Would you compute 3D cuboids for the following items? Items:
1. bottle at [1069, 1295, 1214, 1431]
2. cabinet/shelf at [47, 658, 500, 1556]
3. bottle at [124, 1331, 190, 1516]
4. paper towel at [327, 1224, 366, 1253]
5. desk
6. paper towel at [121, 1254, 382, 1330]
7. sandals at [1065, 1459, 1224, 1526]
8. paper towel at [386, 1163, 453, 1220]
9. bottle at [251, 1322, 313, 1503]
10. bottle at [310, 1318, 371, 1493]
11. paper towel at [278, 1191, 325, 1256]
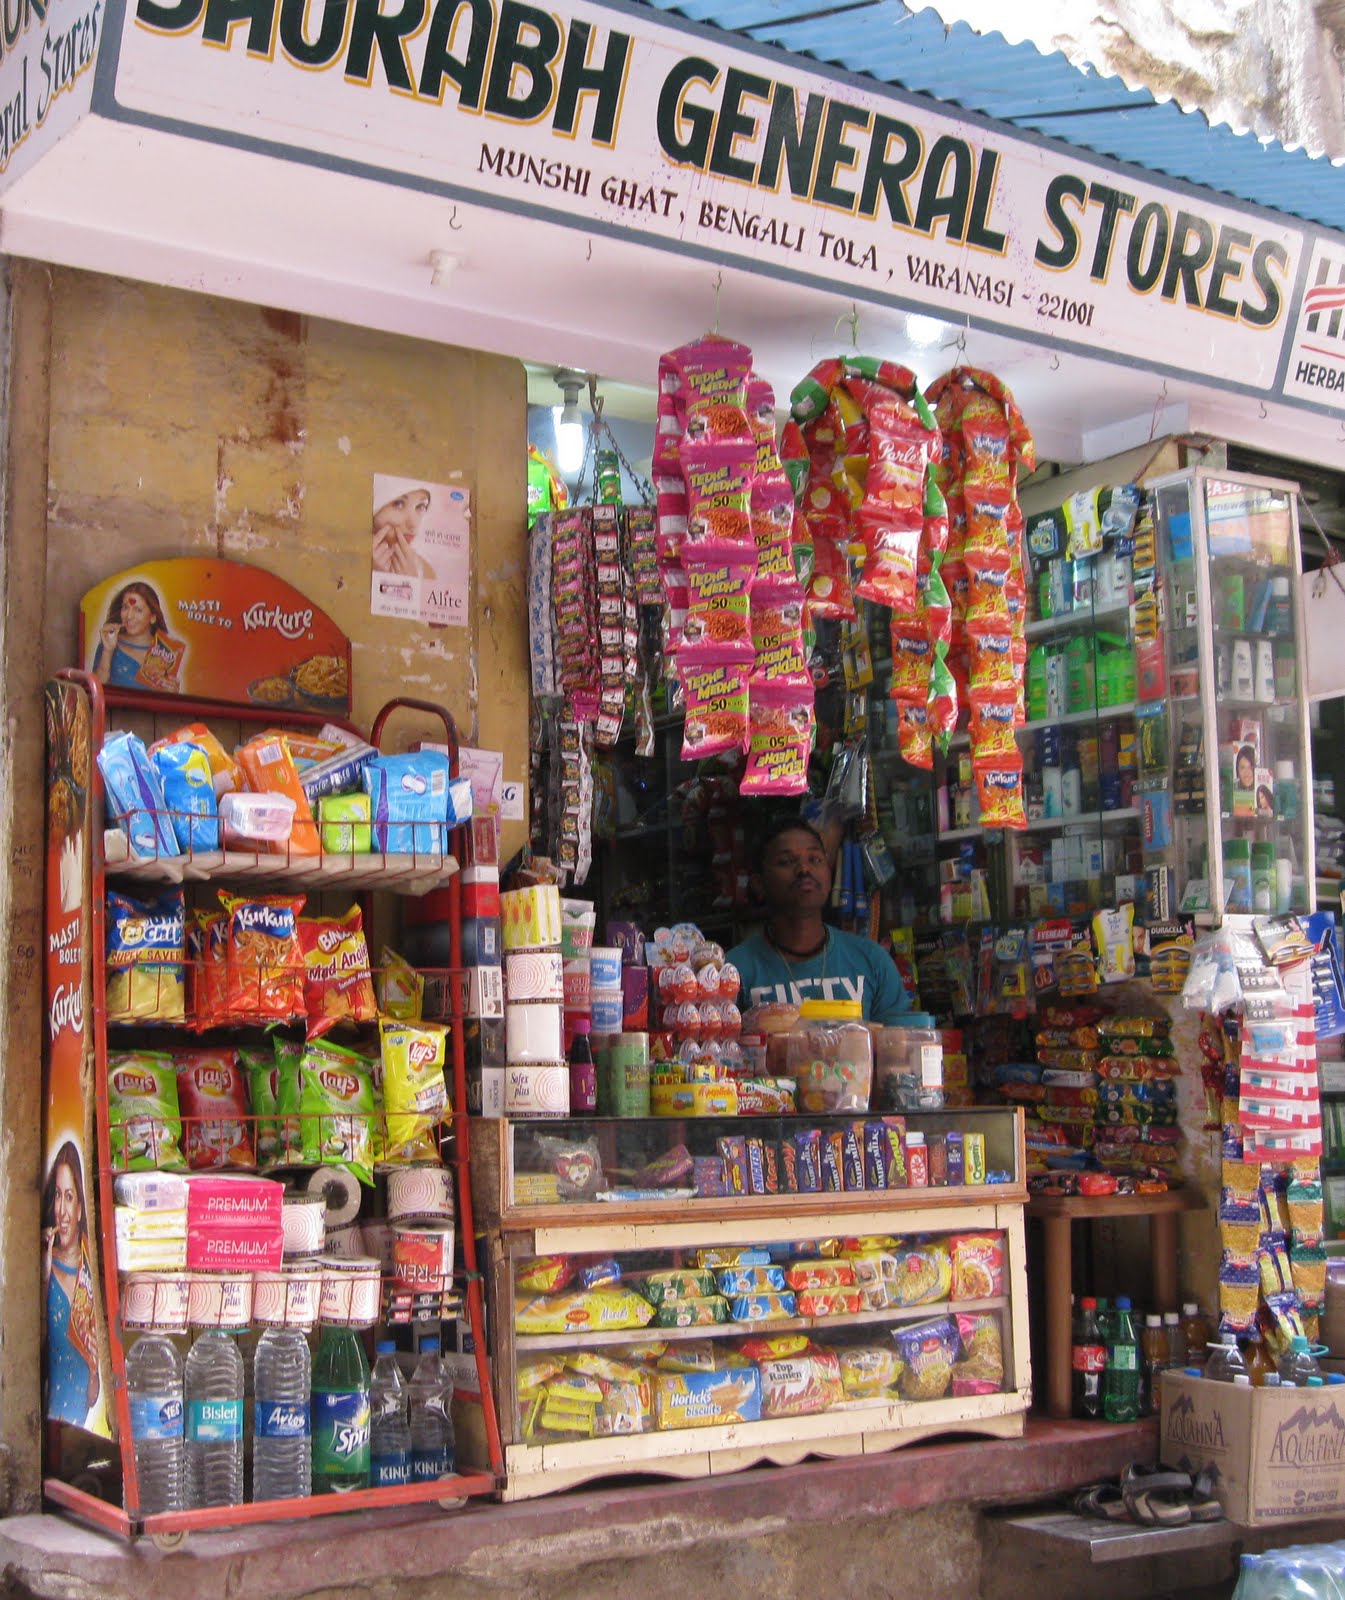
[{"bbox_3d":[1.205,1.445,4.318,0.283,0.322,0.245,-1,-2,2],"label":"bottle"},{"bbox_3d":[-0.832,0.585,3.242,0.916,1.669,0.595,-1,-2,-28],"label":"cabinet/shelf"},{"bbox_3d":[-0.936,1.114,2.990,0.107,0.338,0.200,0,-4,-18],"label":"bottle"},{"bbox_3d":[-0.689,0.934,3.473,0.064,0.045,0.062,-1,-1,16],"label":"paper towel"},{"bbox_3d":[1.144,1.283,4.475,0.426,0.589,0.447,-2,1,-33],"label":"desk"},{"bbox_3d":[-0.753,0.913,3.025,0.494,0.146,0.075,2,-5,-35],"label":"paper towel"},{"bbox_3d":[1.092,1.604,3.868,0.155,0.065,0.214,7,-11,-36],"label":"sandals"},{"bbox_3d":[-0.524,0.809,3.408,0.120,0.081,0.114,3,-10,-17],"label":"paper towel"},{"bbox_3d":[-0.735,1.146,3.135,0.119,0.346,0.103,3,-9,-24],"label":"bottle"},{"bbox_3d":[-0.643,1.167,3.170,0.101,0.293,0.131,0,-4,-14],"label":"bottle"},{"bbox_3d":[-0.709,0.814,3.147,0.098,0.097,0.099,-5,-8,31],"label":"paper towel"}]
